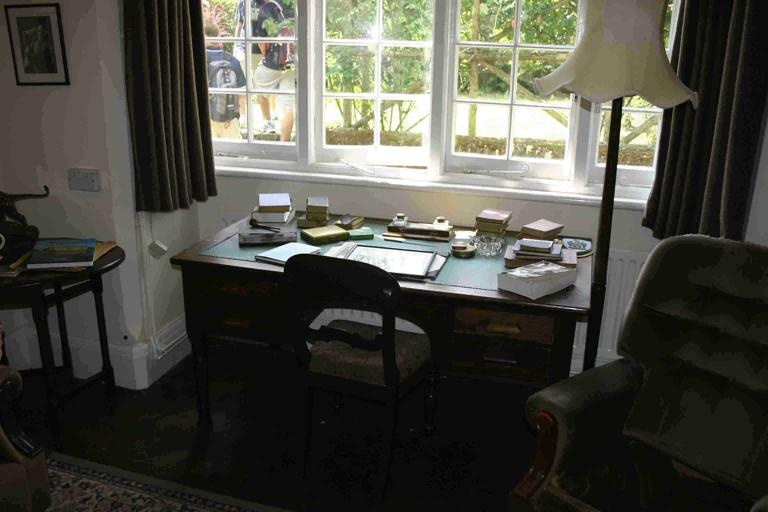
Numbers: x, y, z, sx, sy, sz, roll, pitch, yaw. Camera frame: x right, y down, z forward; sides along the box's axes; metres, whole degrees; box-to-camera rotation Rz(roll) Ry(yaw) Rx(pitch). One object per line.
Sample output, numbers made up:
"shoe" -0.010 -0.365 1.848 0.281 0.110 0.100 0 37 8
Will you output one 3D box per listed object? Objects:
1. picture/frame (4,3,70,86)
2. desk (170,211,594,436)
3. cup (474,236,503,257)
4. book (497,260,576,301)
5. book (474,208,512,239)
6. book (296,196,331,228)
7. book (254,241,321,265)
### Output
"picture/frame" -1.823 -1.131 2.979 0.393 0.464 0.031 5 23 13
"desk" -0.033 0.371 3.170 2.018 0.924 0.883 8 24 10
"cup" 0.550 -0.068 2.949 0.122 0.075 0.121 -1 10 0
"book" 0.706 0.067 2.558 0.250 0.083 0.182 -19 24 -40
"book" 0.573 -0.175 3.058 0.137 0.085 0.190 4 21 16
"book" -0.401 -0.247 3.217 0.175 0.115 0.174 0 28 0
"book" -0.497 -0.021 2.881 0.144 0.021 0.199 14 24 32
